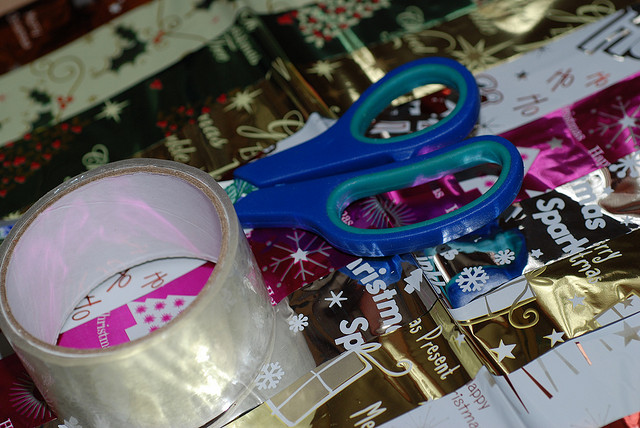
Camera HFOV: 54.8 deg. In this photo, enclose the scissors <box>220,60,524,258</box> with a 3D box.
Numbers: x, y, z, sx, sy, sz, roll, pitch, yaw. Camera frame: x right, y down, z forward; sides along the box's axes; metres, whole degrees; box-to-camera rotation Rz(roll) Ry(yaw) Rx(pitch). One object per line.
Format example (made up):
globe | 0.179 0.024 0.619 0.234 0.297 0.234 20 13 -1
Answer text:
scissors | 0.076 -0.050 0.794 0.370 0.051 0.226 -13 56 5
